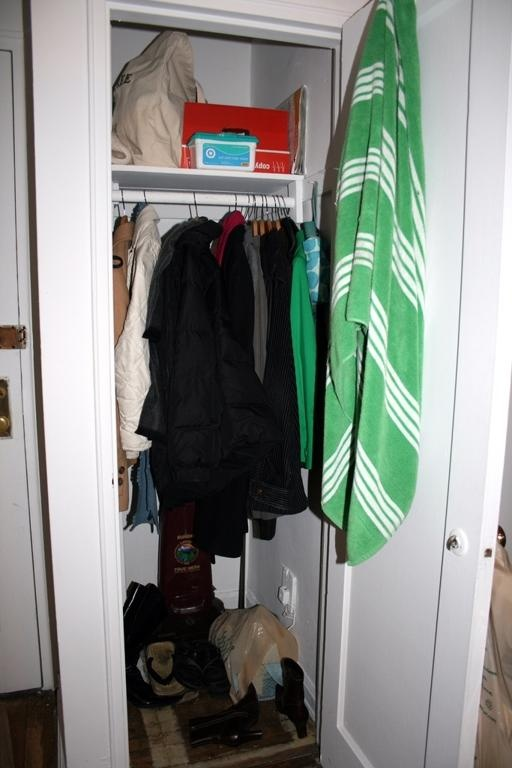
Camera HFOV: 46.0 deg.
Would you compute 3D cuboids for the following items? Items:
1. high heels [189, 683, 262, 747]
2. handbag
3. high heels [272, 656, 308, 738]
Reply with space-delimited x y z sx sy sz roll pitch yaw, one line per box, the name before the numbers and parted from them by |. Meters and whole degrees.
high heels | -0.087 1.004 1.829 0.233 0.149 0.092 3 -10 -15
handbag | -0.301 -0.817 1.826 0.249 0.460 0.121 7 5 37
high heels | 0.112 0.978 1.890 0.062 0.181 0.200 -1 13 -8
